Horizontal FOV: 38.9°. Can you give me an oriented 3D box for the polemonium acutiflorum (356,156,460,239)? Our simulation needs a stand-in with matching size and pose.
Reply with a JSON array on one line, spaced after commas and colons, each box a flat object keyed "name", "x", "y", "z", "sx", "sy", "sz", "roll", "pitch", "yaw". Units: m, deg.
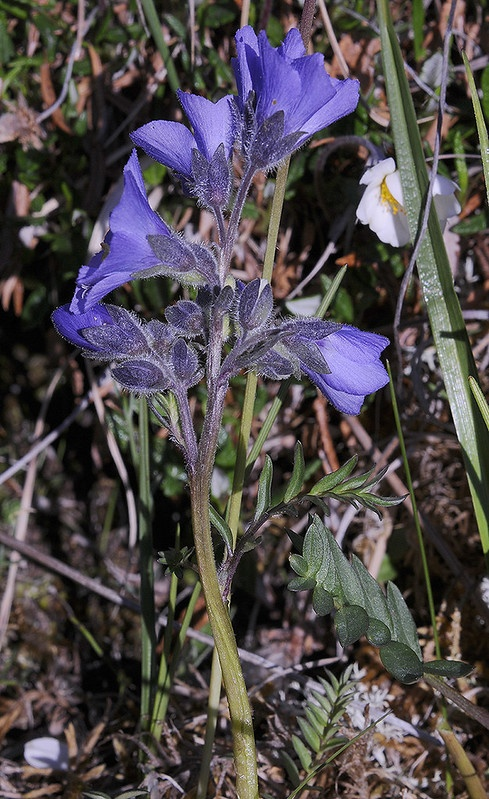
[{"name": "polemonium acutiflorum", "x": 0.150, "y": -0.184, "z": 0.628, "sx": 0.080, "sy": 0.077, "sz": 0.042, "roll": 10, "pitch": 48, "yaw": 7}]

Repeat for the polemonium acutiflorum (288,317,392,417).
[{"name": "polemonium acutiflorum", "x": 0.068, "y": -0.024, "z": 0.449, "sx": 0.034, "sy": 0.053, "sz": 0.065, "roll": 22, "pitch": 27, "yaw": 26}]

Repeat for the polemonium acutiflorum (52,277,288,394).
[{"name": "polemonium acutiflorum", "x": -0.053, "y": -0.035, "z": 0.432, "sx": 0.113, "sy": 0.045, "sz": 0.078, "roll": -17, "pitch": 30, "yaw": -16}]

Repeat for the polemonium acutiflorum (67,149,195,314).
[{"name": "polemonium acutiflorum", "x": -0.052, "y": -0.111, "z": 0.422, "sx": 0.041, "sy": 0.082, "sz": 0.087, "roll": 15, "pitch": 69, "yaw": 8}]
